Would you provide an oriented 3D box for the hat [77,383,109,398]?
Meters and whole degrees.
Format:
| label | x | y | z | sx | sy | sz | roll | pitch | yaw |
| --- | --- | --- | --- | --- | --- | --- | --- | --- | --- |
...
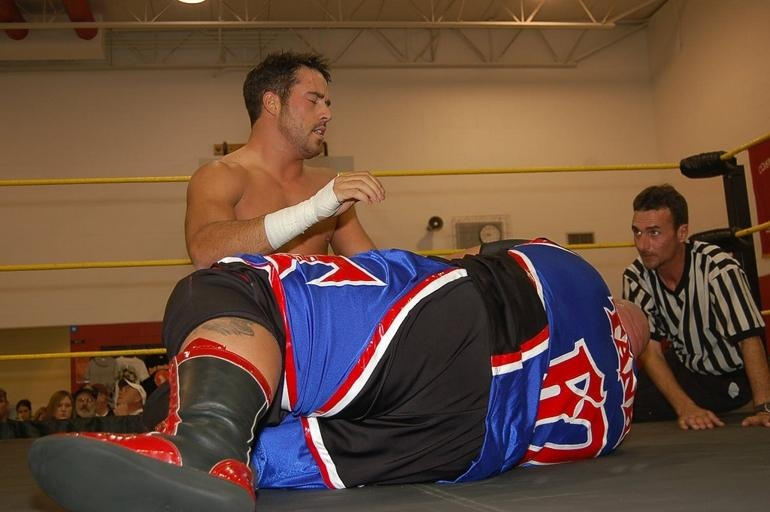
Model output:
| label | x | y | z | sx | sy | sz | roll | pitch | yaw |
| --- | --- | --- | --- | --- | --- | --- | --- | --- | --- |
| hat | -2.984 | 1.354 | 7.152 | 0.194 | 0.089 | 0.307 | 1 | -4 | 17 |

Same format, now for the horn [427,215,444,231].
| label | x | y | z | sx | sy | sz | roll | pitch | yaw |
| --- | --- | --- | --- | --- | --- | --- | --- | --- | --- |
| horn | 0.567 | -0.382 | 8.146 | 0.168 | 0.166 | 0.178 | 16 | 2 | -1 |
